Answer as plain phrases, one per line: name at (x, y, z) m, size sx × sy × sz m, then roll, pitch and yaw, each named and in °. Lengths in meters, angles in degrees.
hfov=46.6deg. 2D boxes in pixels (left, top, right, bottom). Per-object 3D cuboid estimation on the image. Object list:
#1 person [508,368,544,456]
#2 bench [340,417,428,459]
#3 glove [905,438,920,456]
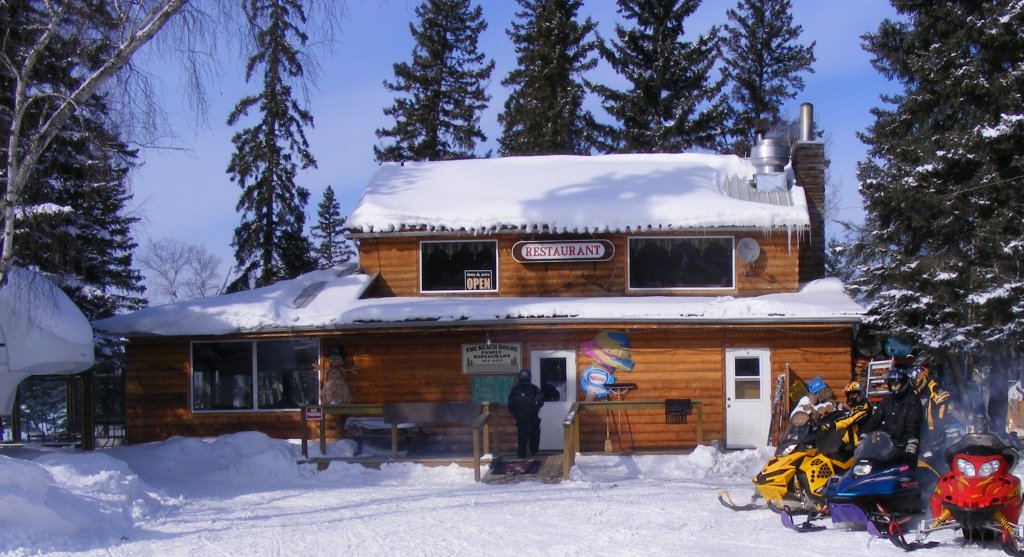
person at (0.560, 4.620, 40.967) m, size 1.151 × 2.967 × 1.262 m, roll -4°, pitch -3°, yaw 4°
bench at (-4.596, 5.552, 42.282) m, size 2.345 × 0.769 × 1.554 m, roll 0°, pitch 1°, yaw 3°
glove at (11.472, 4.791, 33.987) m, size 0.164 × 0.421 × 0.315 m, roll 11°, pitch 11°, yaw 1°
